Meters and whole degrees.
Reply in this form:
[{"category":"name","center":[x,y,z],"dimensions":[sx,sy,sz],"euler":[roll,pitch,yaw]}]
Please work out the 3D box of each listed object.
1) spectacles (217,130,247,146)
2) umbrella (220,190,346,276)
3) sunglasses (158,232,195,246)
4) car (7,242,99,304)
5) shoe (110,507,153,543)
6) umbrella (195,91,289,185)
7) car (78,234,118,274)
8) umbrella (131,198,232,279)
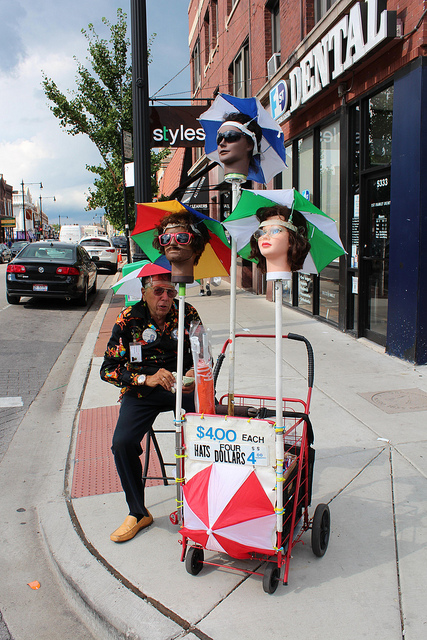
[{"category":"spectacles","center":[0.094,-0.923,2.662],"dimensions":[0.154,0.061,0.084],"euler":[-3,6,7]},{"category":"umbrella","center":[0.331,-0.424,2.460],"dimensions":[0.551,0.439,0.632],"euler":[-2,6,11]},{"category":"sunglasses","center":[-0.182,-0.368,2.410],"dimensions":[0.161,0.054,0.058],"euler":[-1,6,26]},{"category":"car","center":[-3.965,-1.281,13.699],"dimensions":[1.153,0.924,2.596],"euler":[0,12,-3]},{"category":"shoe","center":[-0.445,1.099,2.832],"dimensions":[0.085,0.098,0.237],"euler":[-9,5,36]},{"category":"umbrella","center":[0.158,-0.997,2.943],"dimensions":[0.480,0.462,0.475],"euler":[-3,6,6]},{"category":"car","center":[-5.148,-3.148,23.887],"dimensions":[1.621,1.505,3.927],"euler":[0,11,-2]},{"category":"umbrella","center":[-0.142,-0.406,2.711],"dimensions":[0.548,0.402,0.503],"euler":[-5,6,-11]}]
